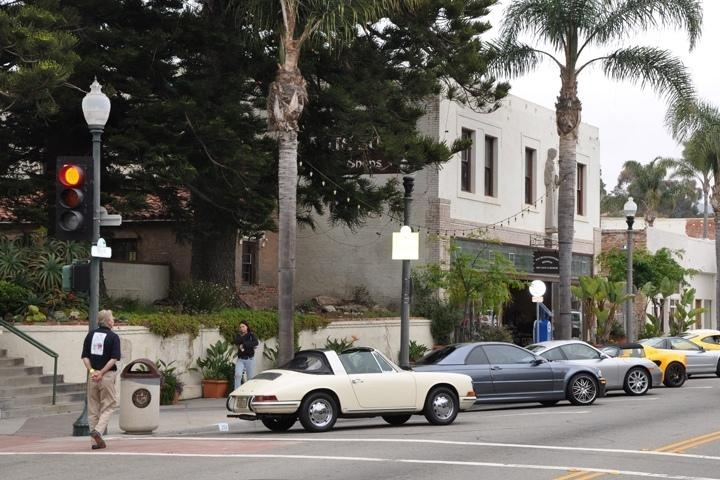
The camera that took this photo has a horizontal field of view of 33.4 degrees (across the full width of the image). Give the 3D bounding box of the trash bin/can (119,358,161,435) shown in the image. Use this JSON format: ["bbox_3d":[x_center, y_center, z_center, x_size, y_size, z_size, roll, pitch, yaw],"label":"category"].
[{"bbox_3d":[-5.675,4.099,31.366,1.004,1.952,0.696,3,-5,-12],"label":"trash bin/can"}]

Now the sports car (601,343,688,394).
[{"bbox_3d":[9.892,4.264,40.650,2.704,0.871,1.517,-4,2,-21],"label":"sports car"}]

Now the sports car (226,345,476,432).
[{"bbox_3d":[-0.199,3.978,31.890,6.080,2.232,0.901,3,-5,-16],"label":"sports car"}]

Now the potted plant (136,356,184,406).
[{"bbox_3d":[-6.118,4.341,36.644,1.559,1.655,1.636,2,-8,-7],"label":"potted plant"}]

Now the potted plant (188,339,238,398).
[{"bbox_3d":[-4.638,4.312,38.926,1.527,2.237,1.599,0,-15,3],"label":"potted plant"}]

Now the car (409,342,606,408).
[{"bbox_3d":[4.691,4.069,35.030,5.464,1.911,2.141,0,-3,-6],"label":"car"}]

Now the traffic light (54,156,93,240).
[{"bbox_3d":[-7.270,-1.039,30.935,0.826,2.216,0.894,1,0,-1],"label":"traffic light"}]
